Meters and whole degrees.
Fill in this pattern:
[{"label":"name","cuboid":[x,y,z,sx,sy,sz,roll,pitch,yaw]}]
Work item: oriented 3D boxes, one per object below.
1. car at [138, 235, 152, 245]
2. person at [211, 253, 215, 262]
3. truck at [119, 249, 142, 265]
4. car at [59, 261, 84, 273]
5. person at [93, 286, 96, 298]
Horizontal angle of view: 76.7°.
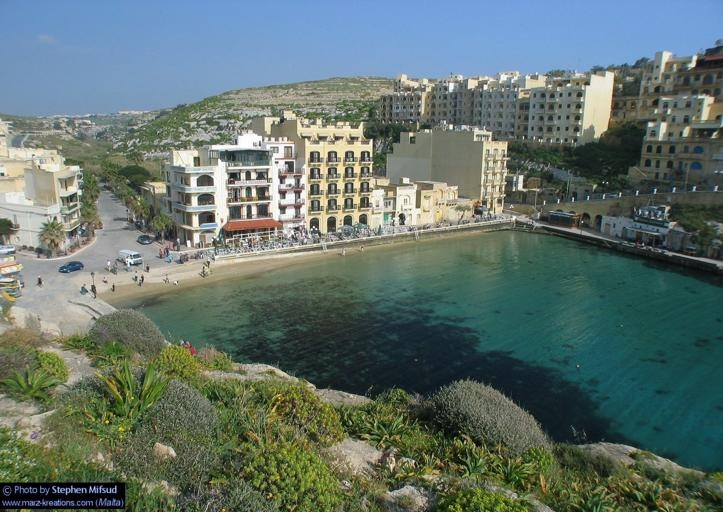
[{"label":"car","cuboid":[-37.151,-2.829,78.227,1.469,0.971,2.357,-17,25,-42]},{"label":"person","cuboid":[-22.978,0.362,70.763,0.732,0.754,1.002,-2,10,-15]},{"label":"truck","cuboid":[-34.074,0.128,67.011,3.256,1.424,2.027,14,22,33]},{"label":"car","cuboid":[-39.820,1.557,62.811,1.379,0.801,2.411,4,6,29]},{"label":"person","cuboid":[-32.462,4.404,55.489,0.462,1.301,0.539,1,-21,-20]}]
